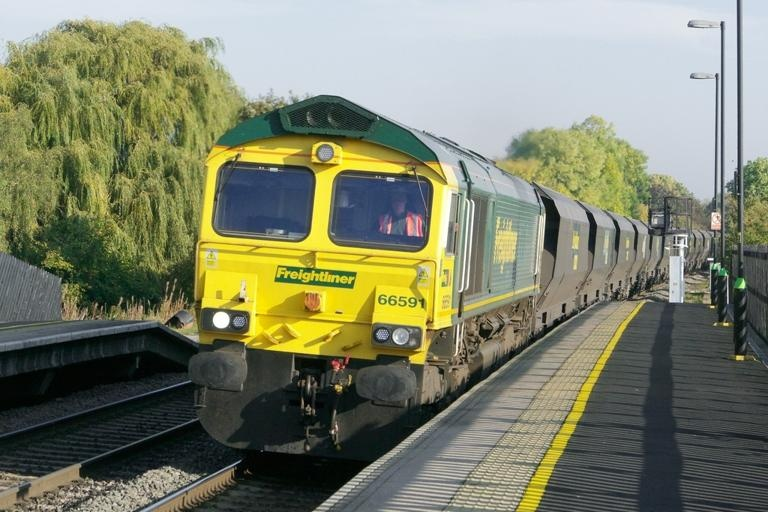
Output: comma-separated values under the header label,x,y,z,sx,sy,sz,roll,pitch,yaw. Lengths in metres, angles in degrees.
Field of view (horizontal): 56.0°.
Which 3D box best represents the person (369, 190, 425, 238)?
label,x,y,z,sx,sy,sz,roll,pitch,yaw
person,0.162,-0.604,9.898,0.882,0.262,0.896,4,-19,8
